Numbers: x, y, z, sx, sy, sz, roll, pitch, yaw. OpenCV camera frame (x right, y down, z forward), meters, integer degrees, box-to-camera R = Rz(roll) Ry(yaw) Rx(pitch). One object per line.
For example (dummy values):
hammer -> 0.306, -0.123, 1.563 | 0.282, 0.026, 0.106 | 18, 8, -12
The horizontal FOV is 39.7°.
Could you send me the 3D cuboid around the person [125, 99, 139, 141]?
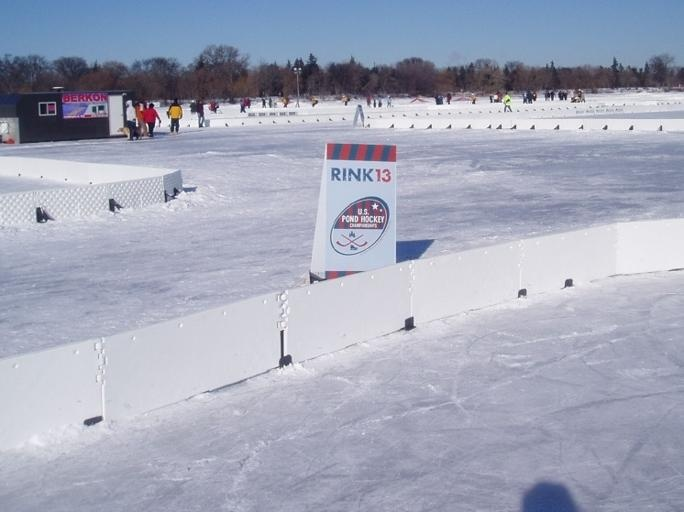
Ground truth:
person -> -7.614, -4.951, 34.511 | 0.466, 1.382, 1.266 | -4, 12, -12
